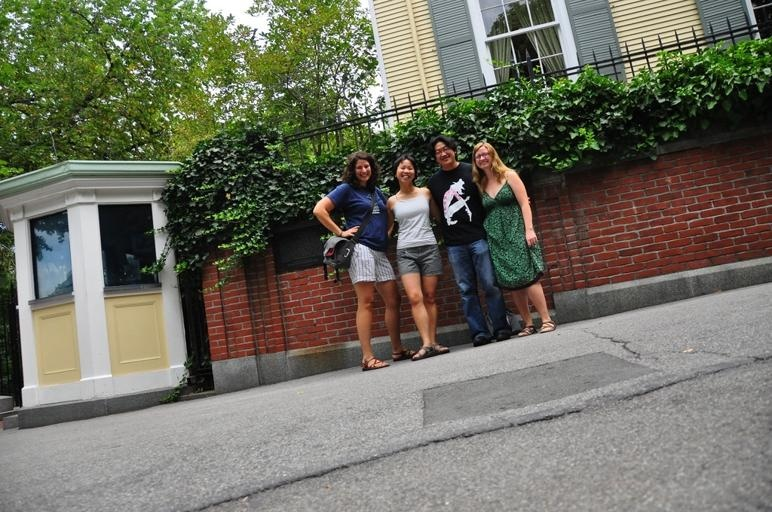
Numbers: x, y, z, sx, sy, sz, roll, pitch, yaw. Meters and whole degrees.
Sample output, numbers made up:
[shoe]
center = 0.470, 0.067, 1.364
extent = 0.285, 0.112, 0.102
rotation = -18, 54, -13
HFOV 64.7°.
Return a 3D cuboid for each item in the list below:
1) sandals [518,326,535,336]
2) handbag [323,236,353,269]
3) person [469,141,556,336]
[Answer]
[sandals]
center = 1.774, 0.956, 7.662
extent = 0.103, 0.085, 0.260
rotation = -29, -20, 28
[handbag]
center = -0.611, -0.044, 7.837
extent = 0.365, 0.412, 0.438
rotation = 6, -4, -31
[person]
center = 1.561, -0.242, 7.699
extent = 0.612, 2.544, 0.477
rotation = -14, -1, 11
